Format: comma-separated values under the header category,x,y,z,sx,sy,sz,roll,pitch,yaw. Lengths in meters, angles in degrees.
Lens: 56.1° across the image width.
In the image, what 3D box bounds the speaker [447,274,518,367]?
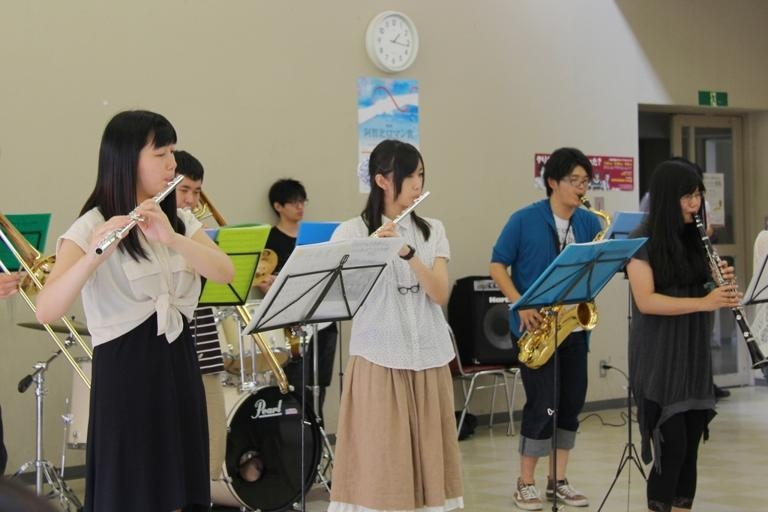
category,x,y,z,sx,sy,sz,roll,pitch,yaw
speaker,0.874,0.631,6.473,0.567,0.838,0.462,2,10,-5

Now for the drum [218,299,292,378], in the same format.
category,x,y,z,sx,sy,sz,roll,pitch,yaw
drum,-0.834,0.546,4.744,0.361,0.543,0.504,-1,3,-12

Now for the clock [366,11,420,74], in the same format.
category,x,y,z,sx,sy,sz,roll,pitch,yaw
clock,0.065,-1.887,6.362,0.476,0.520,0.101,-2,-2,-24

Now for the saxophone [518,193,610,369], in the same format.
category,x,y,z,sx,sy,sz,roll,pitch,yaw
saxophone,1.114,0.234,4.558,0.502,1.210,0.455,0,12,5

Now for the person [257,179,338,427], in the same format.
category,x,y,z,sx,sy,sz,roll,pitch,yaw
person,-0.656,0.262,5.666,0.632,2.025,0.471,1,5,-4

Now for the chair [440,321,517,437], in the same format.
category,x,y,z,sx,sy,sz,roll,pitch,yaw
chair,0.851,1.062,6.587,0.695,0.967,0.547,-2,4,-13

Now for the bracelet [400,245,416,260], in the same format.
category,x,y,z,sx,sy,sz,roll,pitch,yaw
bracelet,0.113,-0.014,3.517,0.070,0.071,0.135,-3,-3,0
